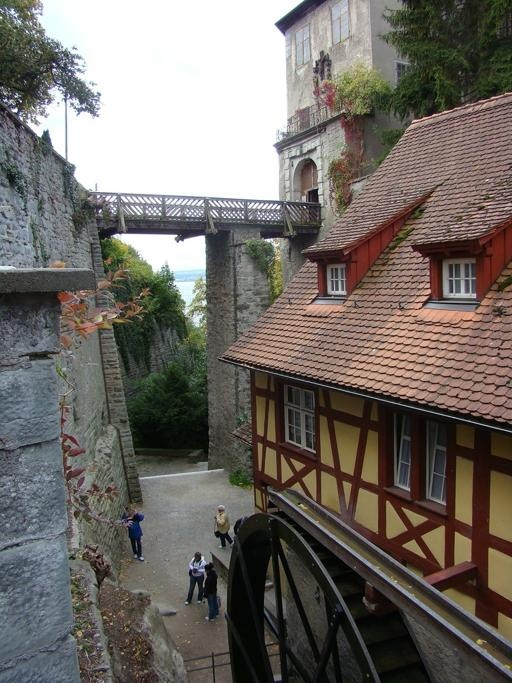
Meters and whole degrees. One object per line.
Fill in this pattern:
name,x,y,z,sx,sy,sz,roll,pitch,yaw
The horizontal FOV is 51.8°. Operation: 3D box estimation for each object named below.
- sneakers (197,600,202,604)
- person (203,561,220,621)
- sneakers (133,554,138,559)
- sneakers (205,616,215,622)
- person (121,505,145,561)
sneakers,-1.003,4.575,9.261,0.048,0.053,0.127,0,-19,-1
person,-0.743,4.103,8.708,0.247,1.080,0.471,1,2,-5
sneakers,-2.499,4.388,10.798,0.052,0.062,0.151,1,-7,-13
sneakers,-0.772,4.585,8.752,0.162,0.063,0.059,7,1,44
person,-2.451,3.782,10.615,0.354,1.348,1.559,1,2,-12
